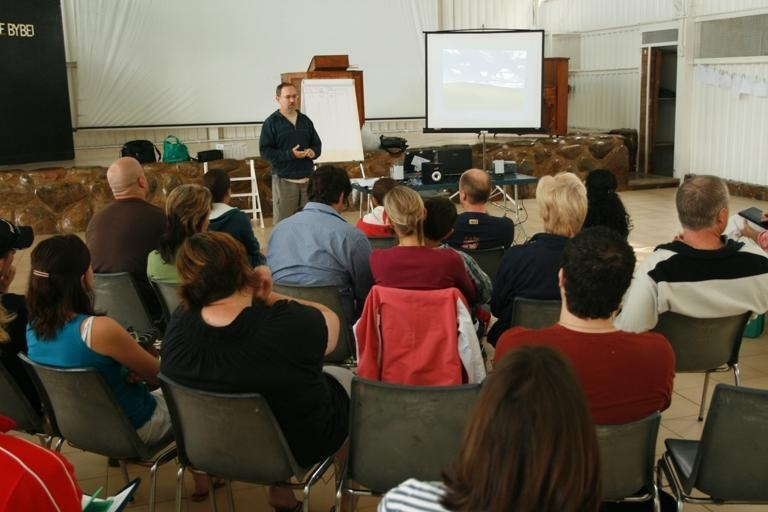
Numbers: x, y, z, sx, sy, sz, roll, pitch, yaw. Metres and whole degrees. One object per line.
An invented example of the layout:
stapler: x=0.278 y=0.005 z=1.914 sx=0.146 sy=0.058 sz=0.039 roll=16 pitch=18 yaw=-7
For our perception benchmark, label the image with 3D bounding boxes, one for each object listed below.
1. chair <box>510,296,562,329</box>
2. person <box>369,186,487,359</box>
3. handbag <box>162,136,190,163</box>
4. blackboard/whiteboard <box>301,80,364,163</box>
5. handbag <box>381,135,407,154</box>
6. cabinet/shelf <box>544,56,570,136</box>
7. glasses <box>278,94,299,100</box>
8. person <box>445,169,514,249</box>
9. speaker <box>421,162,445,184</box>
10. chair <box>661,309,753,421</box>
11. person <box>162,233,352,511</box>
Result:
chair: x=0.814 y=0.310 z=3.198 sx=0.201 sy=0.250 sz=0.187 roll=2 pitch=12 yaw=9
person: x=0.178 y=-0.032 z=3.459 sx=0.585 sy=0.926 sz=0.836 roll=3 pitch=23 yaw=17
handbag: x=-3.451 y=-1.715 z=9.587 sx=0.410 sy=0.363 sz=1.150 roll=-5 pitch=13 yaw=-19
blackboard/whiteboard: x=-0.761 y=-2.005 z=8.345 sx=0.792 sy=1.151 sz=0.669 roll=1 pitch=43 yaw=5
handbag: x=0.119 y=-1.853 z=9.947 sx=0.344 sy=0.169 sz=0.316 roll=-1 pitch=16 yaw=-11
cabinet/shelf: x=3.462 y=-3.216 z=11.939 sx=0.484 sy=1.517 sz=0.770 roll=3 pitch=13 yaw=15
glasses: x=-1.096 y=-1.712 z=6.433 sx=0.198 sy=0.067 sz=0.162 roll=-4 pitch=13 yaw=-13
person: x=0.668 y=-0.347 z=4.519 sx=0.717 sy=0.626 sz=0.388 roll=-3 pitch=24 yaw=-10
speaker: x=0.509 y=-0.910 z=6.656 sx=0.278 sy=0.287 sz=0.206 roll=-3 pitch=8 yaw=-16
chair: x=1.727 y=0.542 z=3.269 sx=0.467 sy=0.620 sz=0.446 roll=1 pitch=27 yaw=13
person: x=-0.527 y=0.405 z=2.445 sx=0.782 sy=0.996 sz=0.326 roll=-6 pitch=13 yaw=-23
